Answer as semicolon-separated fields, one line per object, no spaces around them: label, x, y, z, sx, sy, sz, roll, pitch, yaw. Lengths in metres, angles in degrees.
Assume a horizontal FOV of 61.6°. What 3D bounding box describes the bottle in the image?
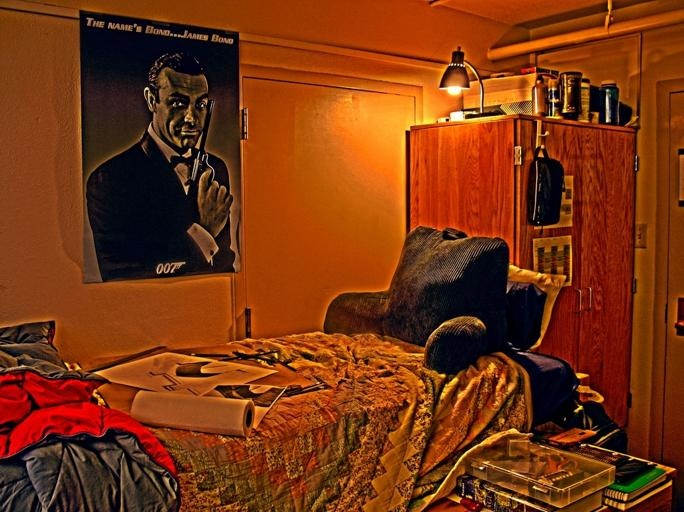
bottle;1.576;-1.002;3.965;0.896;0.358;0.287;0;2;-35

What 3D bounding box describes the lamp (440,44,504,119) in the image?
lamp;0.874;-1.235;4.074;0.423;0.563;0.592;0;7;-3

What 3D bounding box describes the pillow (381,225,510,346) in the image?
pillow;0.540;0.192;3.240;0.446;0.666;0.852;-1;5;-22

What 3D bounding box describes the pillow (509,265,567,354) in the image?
pillow;1.053;0.269;3.135;0.433;0.438;0.152;12;-6;-32

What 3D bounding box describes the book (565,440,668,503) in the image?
book;1.302;0.969;2.577;0.246;0.051;0.246;-4;8;-30

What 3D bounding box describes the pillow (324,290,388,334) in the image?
pillow;0.107;0.339;3.447;0.379;0.206;0.158;5;1;37

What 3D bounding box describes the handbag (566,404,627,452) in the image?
handbag;1.374;0.933;3.079;0.298;0.148;0.407;15;6;38

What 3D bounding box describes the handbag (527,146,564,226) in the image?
handbag;1.214;-0.425;3.452;0.212;0.466;0.137;-4;9;-36
